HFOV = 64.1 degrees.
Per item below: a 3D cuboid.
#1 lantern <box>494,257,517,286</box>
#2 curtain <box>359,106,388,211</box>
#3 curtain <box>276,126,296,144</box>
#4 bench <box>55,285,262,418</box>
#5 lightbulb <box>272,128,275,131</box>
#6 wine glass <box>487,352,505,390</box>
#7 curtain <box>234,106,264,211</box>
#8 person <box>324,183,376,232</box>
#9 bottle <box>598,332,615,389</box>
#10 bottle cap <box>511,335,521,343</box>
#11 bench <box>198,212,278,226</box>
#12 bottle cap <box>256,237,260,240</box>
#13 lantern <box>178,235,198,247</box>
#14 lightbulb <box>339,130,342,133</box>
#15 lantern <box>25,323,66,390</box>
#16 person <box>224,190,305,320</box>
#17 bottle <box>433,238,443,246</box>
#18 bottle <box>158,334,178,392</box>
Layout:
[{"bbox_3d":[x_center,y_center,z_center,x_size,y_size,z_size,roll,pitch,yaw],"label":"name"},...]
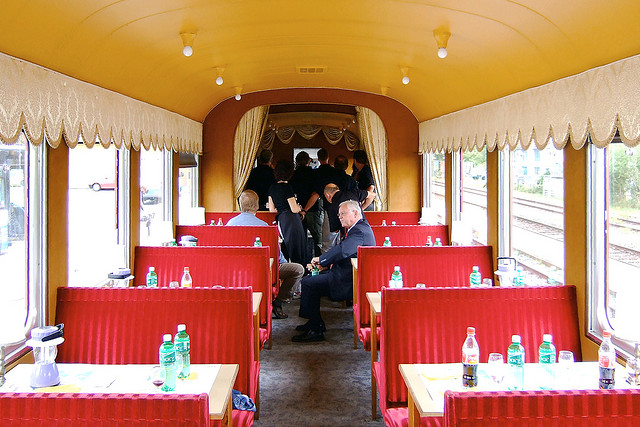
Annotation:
[{"bbox_3d":[2.054,0.617,5.606,0.263,0.289,0.263,10,-11,-39],"label":"lantern"},{"bbox_3d":[1.174,-1.124,10.461,0.308,2.018,0.828,-5,11,-32],"label":"curtain"},{"bbox_3d":[-1.285,-3.112,19.984,0.539,0.588,0.067,1,-6,-4],"label":"curtain"},{"bbox_3d":[-1.307,1.098,4.100,1.011,0.733,0.412,0,2,1],"label":"bench"},{"bbox_3d":[-1.718,-3.151,19.182,0.088,0.101,0.302,-1,11,-9],"label":"lightbulb"},{"bbox_3d":[1.330,1.129,3.823,0.119,0.217,0.355,4,11,19],"label":"wine glass"},{"bbox_3d":[-1.463,-1.135,10.387,0.712,2.049,0.236,-6,11,-36],"label":"curtain"},{"bbox_3d":[0.509,-0.126,8.235,0.592,1.020,0.339,-19,5,-2],"label":"person"},{"bbox_3d":[2.165,1.075,3.823,0.112,0.379,0.272,6,11,30],"label":"bottle"},{"bbox_3d":[1.466,0.931,3.813,0.071,0.069,0.075,1,6,28],"label":"bottle cap"},{"bbox_3d":[-1.546,0.077,9.840,1.401,0.252,0.349,1,10,1],"label":"bench"},{"bbox_3d":[-0.895,0.370,7.437,0.033,0.036,0.025,1,6,2],"label":"bottle cap"},{"bbox_3d":[-1.903,0.356,7.394,0.229,0.226,0.187,-2,4,-10],"label":"lantern"},{"bbox_3d":[0.839,-3.158,19.751,0.137,0.097,0.033,-1,-4,9],"label":"lightbulb"},{"bbox_3d":[-2.087,1.093,3.903,0.286,0.442,0.254,-3,-6,-21],"label":"lantern"},{"bbox_3d":[-0.656,0.641,8.021,1.012,1.870,1.134,-4,-3,8],"label":"person"},{"bbox_3d":[1.865,0.446,8.013,0.140,0.149,0.091,-2,8,0],"label":"bottle"},{"bbox_3d":[-1.133,1.073,3.816,0.129,0.398,0.297,-2,10,-16],"label":"bottle"}]
